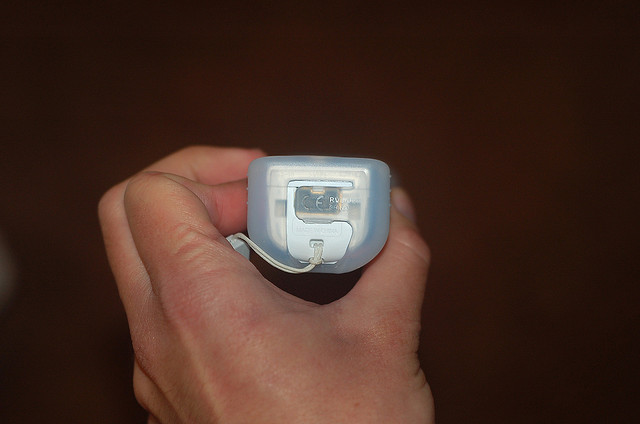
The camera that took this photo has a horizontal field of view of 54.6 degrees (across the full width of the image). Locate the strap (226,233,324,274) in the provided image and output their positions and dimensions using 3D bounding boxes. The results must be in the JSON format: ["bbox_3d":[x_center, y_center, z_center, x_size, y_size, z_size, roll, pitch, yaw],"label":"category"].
[{"bbox_3d":[-0.112,0.091,1.864,0.288,0.104,0.176,2,39,-5],"label":"strap"}]
